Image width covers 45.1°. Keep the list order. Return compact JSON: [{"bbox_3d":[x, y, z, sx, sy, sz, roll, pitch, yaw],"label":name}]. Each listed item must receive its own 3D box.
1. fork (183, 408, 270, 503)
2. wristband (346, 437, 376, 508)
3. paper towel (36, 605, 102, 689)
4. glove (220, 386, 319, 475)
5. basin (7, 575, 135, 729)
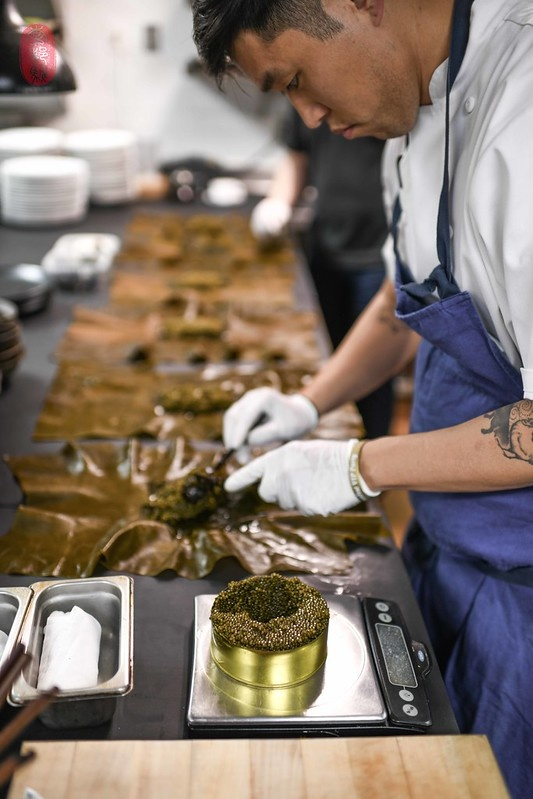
[{"bbox_3d":[-0.067,0.102,1.116,0.056,0.057,0.240,33,26,2],"label":"fork"},{"bbox_3d":[0.151,0.120,1.000,0.030,0.062,0.080,-10,74,-20],"label":"wristband"},{"bbox_3d":[-0.213,0.270,0.688,0.057,0.036,0.102,12,32,-14],"label":"paper towel"},{"bbox_3d":[-0.013,0.056,1.269,0.257,0.152,0.122,-7,2,-20],"label":"glove"},{"bbox_3d":[-0.204,0.286,0.732,0.119,0.058,0.176,-2,36,-3],"label":"basin"}]
